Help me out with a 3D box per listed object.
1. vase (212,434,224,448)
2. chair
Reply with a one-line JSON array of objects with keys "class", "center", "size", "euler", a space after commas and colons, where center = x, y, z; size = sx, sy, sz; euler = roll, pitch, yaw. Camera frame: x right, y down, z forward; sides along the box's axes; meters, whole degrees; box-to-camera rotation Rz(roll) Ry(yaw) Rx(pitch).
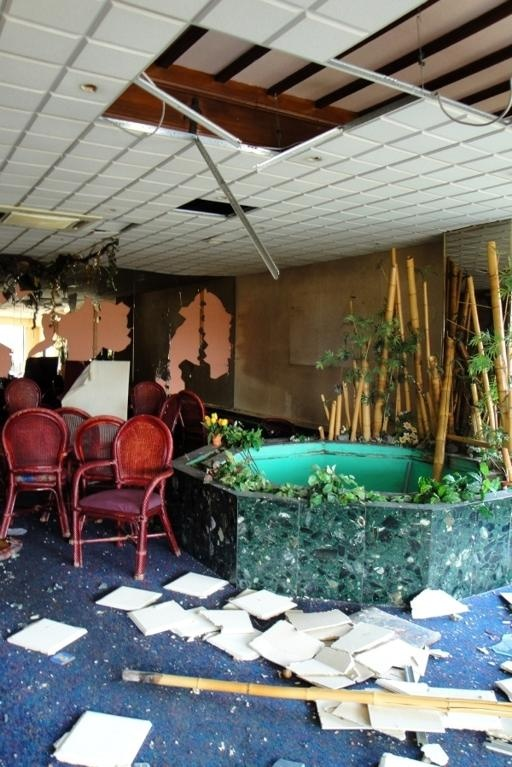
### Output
[{"class": "vase", "center": [-0.343, 0.518, 4.637], "size": [0.072, 0.109, 0.107], "euler": [-3, -11, 36]}, {"class": "chair", "center": [-1.061, 0.681, 3.736], "size": [1.231, 0.999, 1.021], "euler": [0, 2, 20]}]
